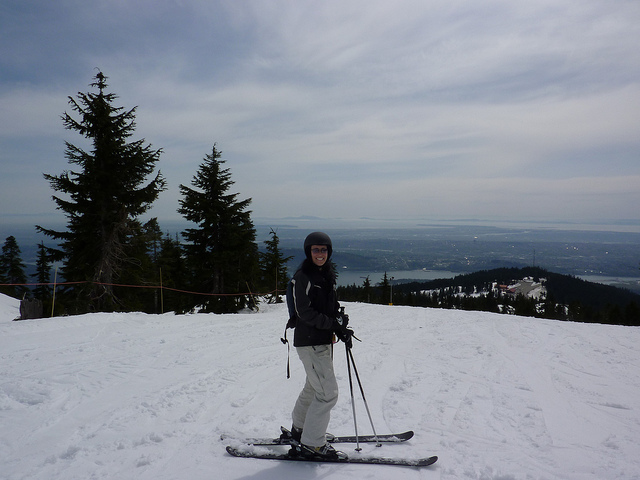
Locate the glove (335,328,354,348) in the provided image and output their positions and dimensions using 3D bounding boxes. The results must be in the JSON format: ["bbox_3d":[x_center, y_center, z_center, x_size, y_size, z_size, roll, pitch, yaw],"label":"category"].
[{"bbox_3d":[0.525,1.900,9.957,0.176,0.361,0.361,-15,-2,-45],"label":"glove"}]

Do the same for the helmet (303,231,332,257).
[{"bbox_3d":[-0.052,0.047,9.821,0.431,0.352,0.458,0,-1,-7],"label":"helmet"}]
